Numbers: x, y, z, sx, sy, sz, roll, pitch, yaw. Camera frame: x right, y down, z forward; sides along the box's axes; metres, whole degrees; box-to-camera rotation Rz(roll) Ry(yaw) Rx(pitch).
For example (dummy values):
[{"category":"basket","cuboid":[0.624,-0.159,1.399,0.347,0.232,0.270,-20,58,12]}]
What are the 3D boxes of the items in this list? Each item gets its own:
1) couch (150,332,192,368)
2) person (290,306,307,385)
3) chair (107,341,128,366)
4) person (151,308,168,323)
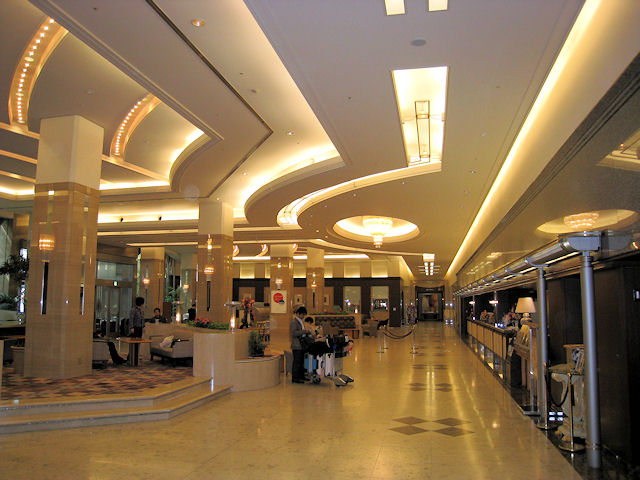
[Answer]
[{"category":"couch","cuboid":[-4.219,3.107,12.342,1.502,0.695,0.709,-4,-11,41]},{"category":"person","cuboid":[-0.577,2.687,11.201,0.350,1.891,0.817,1,-6,-3]},{"category":"chair","cuboid":[-5.522,3.067,11.902,0.497,0.718,1.870,4,-8,-24]},{"category":"person","cuboid":[-6.190,2.928,16.715,0.424,0.533,1.276,3,-7,-21]}]
